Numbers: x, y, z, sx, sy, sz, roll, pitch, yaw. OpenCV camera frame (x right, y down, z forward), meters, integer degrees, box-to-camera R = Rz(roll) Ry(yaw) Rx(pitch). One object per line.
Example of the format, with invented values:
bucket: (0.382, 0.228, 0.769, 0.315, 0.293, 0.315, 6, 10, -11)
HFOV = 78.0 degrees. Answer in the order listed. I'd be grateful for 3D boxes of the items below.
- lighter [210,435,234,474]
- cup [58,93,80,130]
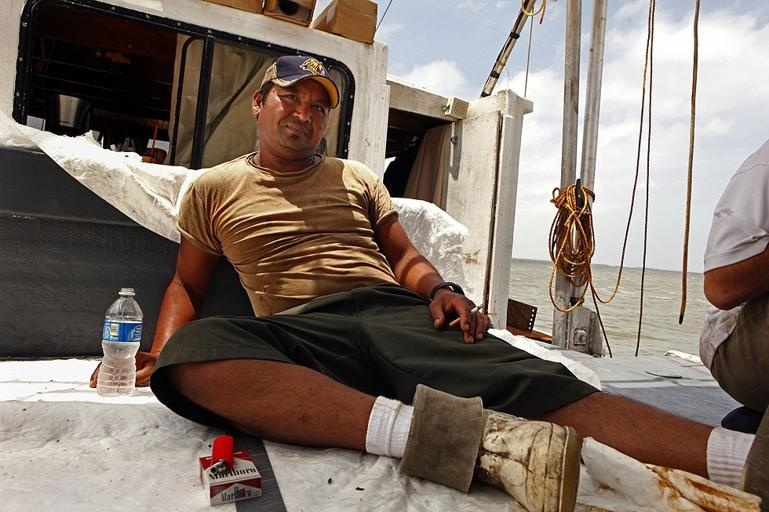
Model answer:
lighter: (-0.546, 0.659, 1.579, 0.062, 0.042, 0.109, -4, 23, -10)
cup: (-3.159, -1.447, 4.747, 0.281, 0.310, 0.267, 4, 8, -1)
